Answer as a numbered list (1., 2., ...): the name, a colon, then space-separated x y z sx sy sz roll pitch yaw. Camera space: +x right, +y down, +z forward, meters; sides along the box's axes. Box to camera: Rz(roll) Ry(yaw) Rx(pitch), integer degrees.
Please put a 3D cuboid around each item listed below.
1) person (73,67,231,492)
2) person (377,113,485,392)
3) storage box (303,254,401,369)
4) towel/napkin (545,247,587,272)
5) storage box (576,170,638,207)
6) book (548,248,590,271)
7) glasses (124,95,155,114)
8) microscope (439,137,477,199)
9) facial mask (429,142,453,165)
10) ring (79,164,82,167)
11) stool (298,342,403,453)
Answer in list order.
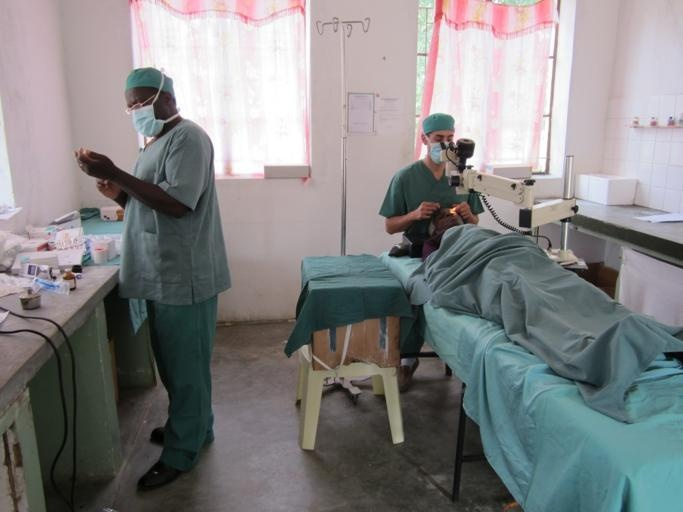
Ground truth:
1. person: -0.890 0.140 2.847 0.748 2.124 0.771 -1 6 -7
2. person: 0.566 -0.040 3.421 0.592 1.729 0.759 -1 4 -13
3. storage box: 0.037 0.270 2.863 0.423 0.588 0.501 1 14 -8
4. towel/napkin: 1.250 0.040 2.786 0.184 0.064 0.146 -2 16 -14
5. storage box: 2.337 -0.604 4.558 0.298 0.290 0.443 -1 14 -10
6. book: 1.249 0.019 2.783 0.154 0.053 0.159 -7 19 -27
7. glasses: -0.977 -0.735 2.486 0.099 0.034 0.110 14 56 48
8. microscope: 0.636 -0.486 2.852 0.176 0.328 0.297 2 17 11
9. facial mask: 0.584 -0.607 3.018 0.106 0.085 0.147 -3 55 -10
10. ring: -1.192 -0.413 2.339 0.017 0.008 0.024 3 22 -13
11. stool: 0.016 0.768 3.038 0.544 0.472 0.575 -2 8 -10
